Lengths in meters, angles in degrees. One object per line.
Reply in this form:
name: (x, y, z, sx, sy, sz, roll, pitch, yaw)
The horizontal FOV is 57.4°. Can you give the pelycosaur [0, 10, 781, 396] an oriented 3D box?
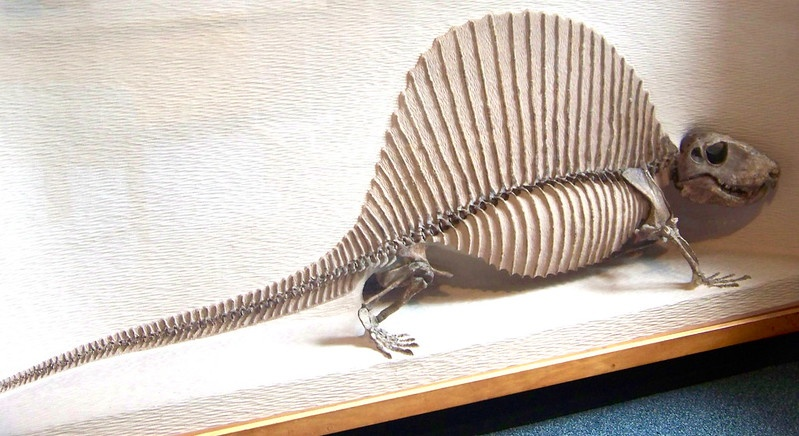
pelycosaur: (0.225, -0.080, 2.569, 2.261, 0.803, 0.891, -19, -35, -1)
